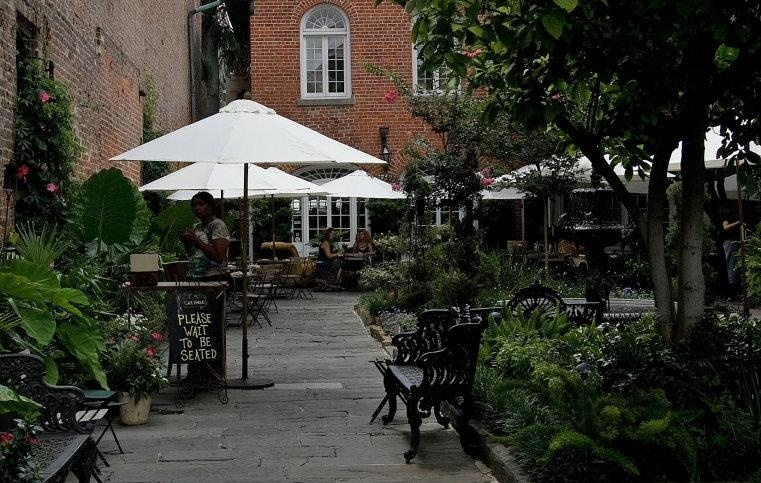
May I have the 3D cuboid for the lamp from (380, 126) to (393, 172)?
[{"bbox_3d":[0.106,-2.861,23.315,0.482,1.300,0.452,-7,7,-10],"label":"lamp"}]

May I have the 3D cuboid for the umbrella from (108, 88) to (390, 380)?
[{"bbox_3d":[-1.838,-0.340,10.211,3.387,3.154,3.507,3,2,10],"label":"umbrella"}]

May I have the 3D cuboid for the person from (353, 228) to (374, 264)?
[{"bbox_3d":[-0.486,0.173,20.819,0.640,0.994,0.583,-3,0,-45],"label":"person"}]

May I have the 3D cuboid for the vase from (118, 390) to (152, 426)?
[{"bbox_3d":[-2.578,1.761,7.858,0.427,0.348,0.415,0,-2,-2],"label":"vase"}]

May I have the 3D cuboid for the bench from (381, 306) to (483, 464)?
[{"bbox_3d":[0.489,1.396,7.596,1.135,1.333,1.320,-2,-2,-2],"label":"bench"}]

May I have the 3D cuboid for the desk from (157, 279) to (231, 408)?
[{"bbox_3d":[-2.156,1.154,8.817,0.663,1.452,0.453,-3,-4,-6],"label":"desk"}]

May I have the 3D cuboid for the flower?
[{"bbox_3d":[-2.571,1.457,7.933,0.463,0.633,0.563,0,-7,-6],"label":"flower"}]
